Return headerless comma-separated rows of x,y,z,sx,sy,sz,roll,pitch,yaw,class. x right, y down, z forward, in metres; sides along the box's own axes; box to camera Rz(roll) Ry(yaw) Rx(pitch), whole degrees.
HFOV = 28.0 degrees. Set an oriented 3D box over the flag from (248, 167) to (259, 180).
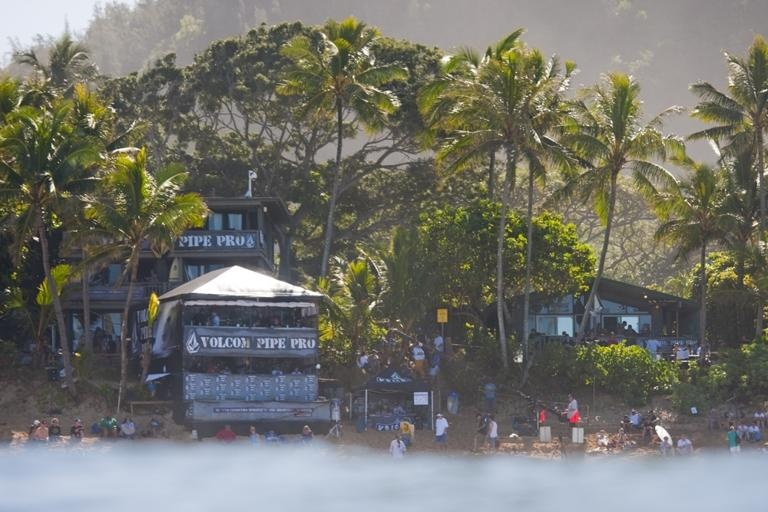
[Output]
-12.499,-7.973,147.717,1.262,1.359,0.341,0,3,10,flag
